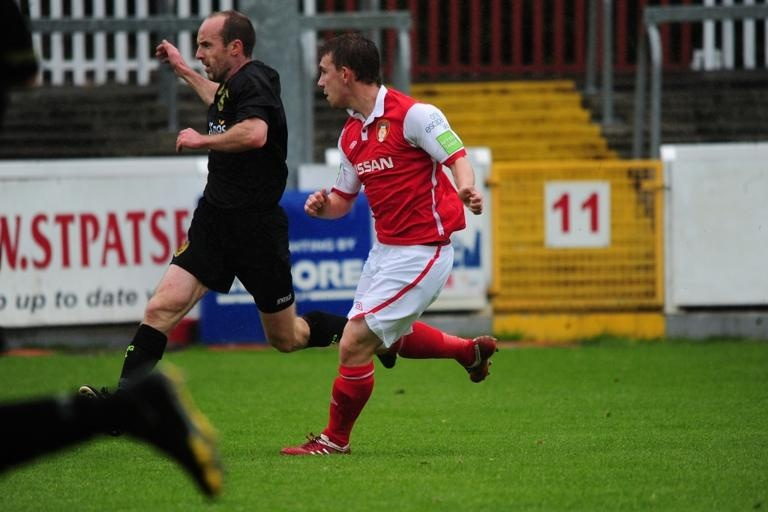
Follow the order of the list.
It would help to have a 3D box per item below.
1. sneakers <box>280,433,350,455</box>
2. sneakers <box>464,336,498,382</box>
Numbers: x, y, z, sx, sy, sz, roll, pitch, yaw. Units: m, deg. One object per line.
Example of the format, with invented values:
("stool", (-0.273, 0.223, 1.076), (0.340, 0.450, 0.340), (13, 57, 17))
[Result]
("sneakers", (-0.491, 1.378, 9.695), (0.499, 0.186, 0.183), (2, -11, -5))
("sneakers", (0.738, 0.783, 10.281), (0.159, 0.431, 0.187), (8, 2, 11))
